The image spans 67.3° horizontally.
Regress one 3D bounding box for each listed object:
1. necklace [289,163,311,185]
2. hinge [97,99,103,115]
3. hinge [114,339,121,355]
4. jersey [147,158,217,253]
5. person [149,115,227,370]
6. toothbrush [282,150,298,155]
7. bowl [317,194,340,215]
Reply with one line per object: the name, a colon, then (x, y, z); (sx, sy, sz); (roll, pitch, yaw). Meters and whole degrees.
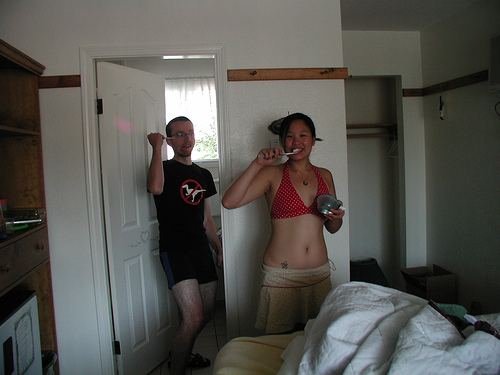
necklace: (0.315, -0.078, 2.442); (0.005, 0.159, 0.045); (-11, -28, -30)
hinge: (-1.114, -0.590, 2.781); (0.043, 0.113, 0.014); (-2, 5, -12)
hinge: (-1.010, 1.216, 2.855); (0.074, 0.087, 0.020); (-4, -4, 27)
jersey: (-0.537, 0.141, 3.101); (0.498, 0.717, 0.325); (-2, 5, -8)
person: (-0.541, 0.425, 3.267); (0.587, 2.054, 1.160); (-1, 5, -7)
toothbrush: (0.260, -0.222, 2.423); (0.093, 0.014, 0.024); (-7, 45, 6)
bowl: (0.501, 0.112, 2.364); (0.165, 0.120, 0.086); (-2, 5, -10)
